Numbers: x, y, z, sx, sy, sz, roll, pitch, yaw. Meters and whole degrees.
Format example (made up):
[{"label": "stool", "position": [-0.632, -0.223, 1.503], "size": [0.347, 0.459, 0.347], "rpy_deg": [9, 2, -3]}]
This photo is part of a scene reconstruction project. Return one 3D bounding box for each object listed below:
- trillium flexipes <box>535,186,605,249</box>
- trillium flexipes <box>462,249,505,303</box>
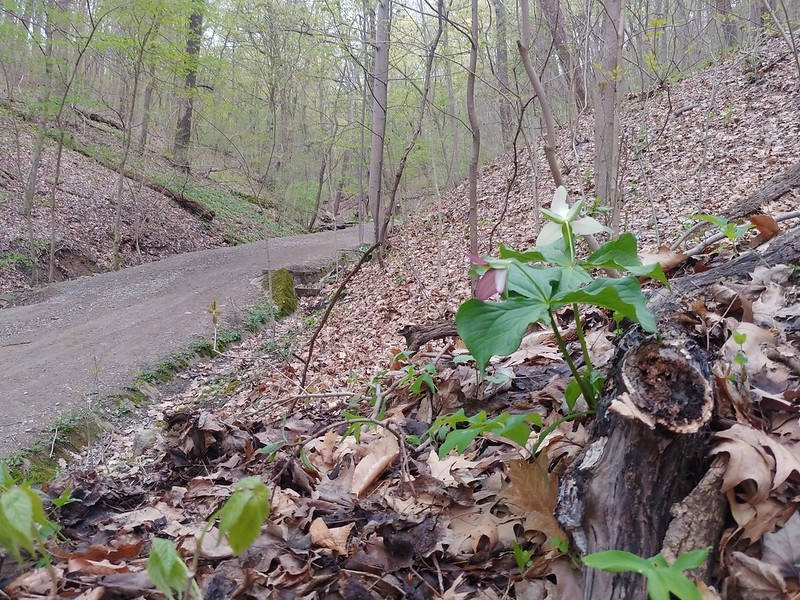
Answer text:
[{"label": "trillium flexipes", "position": [0.856, -0.421, 2.925], "size": [0.331, 0.285, 0.305], "rpy_deg": [-1, 12, 19]}, {"label": "trillium flexipes", "position": [0.415, -0.102, 2.731], "size": [0.173, 0.223, 0.187], "rpy_deg": [-2, 11, 14]}]
